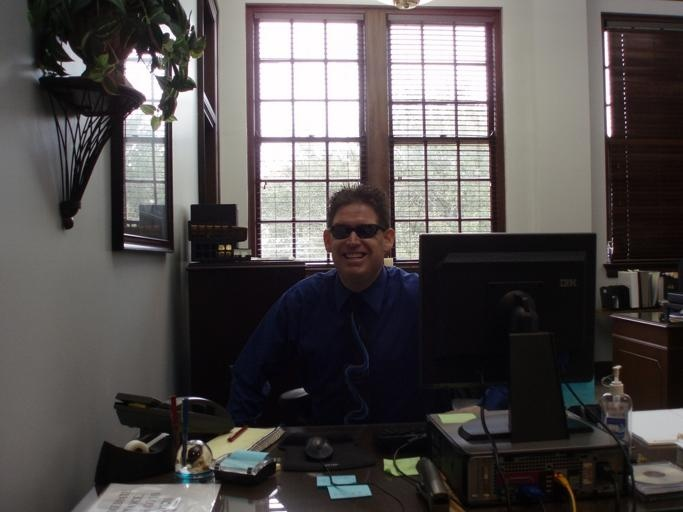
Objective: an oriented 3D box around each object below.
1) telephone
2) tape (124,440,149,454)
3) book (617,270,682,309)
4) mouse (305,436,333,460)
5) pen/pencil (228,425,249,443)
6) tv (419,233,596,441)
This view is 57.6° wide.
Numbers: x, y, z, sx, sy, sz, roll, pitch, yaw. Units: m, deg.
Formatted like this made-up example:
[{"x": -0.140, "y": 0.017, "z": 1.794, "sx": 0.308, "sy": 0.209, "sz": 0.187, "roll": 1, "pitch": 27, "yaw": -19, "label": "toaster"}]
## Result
[{"x": -0.555, "y": 0.520, "z": 2.060, "sx": 0.189, "sy": 0.090, "sz": 0.265, "roll": -2, "pitch": -8, "yaw": 36, "label": "telephone"}, {"x": -0.648, "y": 0.603, "z": 1.970, "sx": 0.061, "sy": 0.064, "sz": 0.022, "roll": 11, "pitch": -10, "yaw": -34, "label": "tape"}, {"x": 2.526, "y": 0.277, "z": 5.203, "sx": 0.353, "sy": 0.311, "sz": 0.175, "roll": -2, "pitch": 2, "yaw": 25, "label": "book"}, {"x": -0.074, "y": 0.633, "z": 2.032, "sx": 0.065, "sy": 0.030, "sz": 0.068, "roll": -2, "pitch": 27, "yaw": -1, "label": "mouse"}, {"x": -0.361, "y": 0.608, "z": 2.127, "sx": 0.018, "sy": 0.014, "sz": 0.078, "roll": -18, "pitch": 5, "yaw": 15, "label": "pen/pencil"}, {"x": 0.541, "y": 0.237, "z": 2.006, "sx": 0.626, "sy": 0.678, "sz": 0.214, "roll": -1, "pitch": 5, "yaw": -2, "label": "tv"}]
